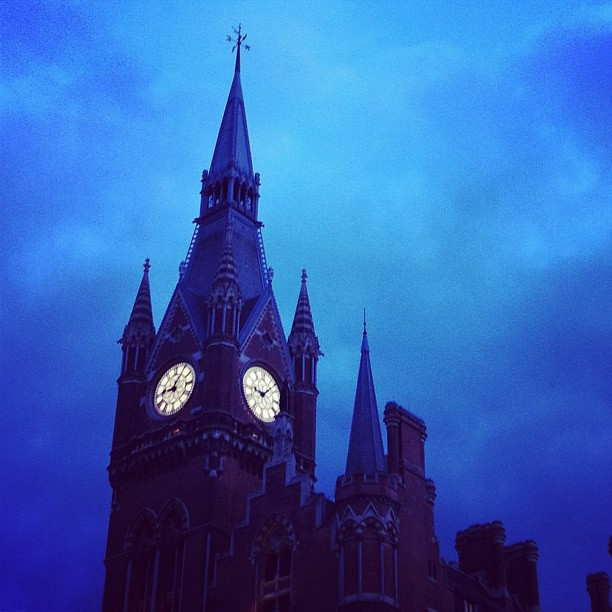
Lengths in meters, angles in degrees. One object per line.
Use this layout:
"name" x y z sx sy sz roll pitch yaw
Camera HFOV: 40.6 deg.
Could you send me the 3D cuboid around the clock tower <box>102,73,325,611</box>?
"clock tower" -5.871 -1.615 55.946 11.863 45.155 7.625 6 -33 -10
